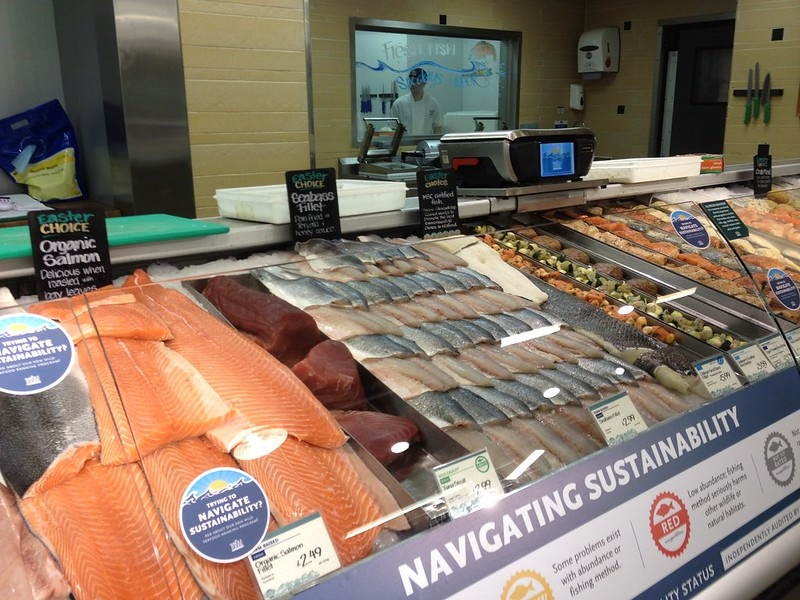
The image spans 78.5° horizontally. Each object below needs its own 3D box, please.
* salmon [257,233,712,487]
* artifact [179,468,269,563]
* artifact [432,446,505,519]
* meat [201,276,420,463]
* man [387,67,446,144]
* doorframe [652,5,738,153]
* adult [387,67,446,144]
[{"bbox_3d":[0.155,0.032,1.282,0.647,0.094,0.894,-12,34,-45],"label":"salmon"},{"bbox_3d":[-0.269,0.332,0.760,0.113,0.097,0.117,9,24,26],"label":"artifact"},{"bbox_3d":[0.135,0.352,0.950,0.148,0.060,0.084,-13,24,-28],"label":"artifact"},{"bbox_3d":[-0.274,0.152,1.245,0.258,0.170,0.674,-3,31,-45],"label":"meat"},{"bbox_3d":[0.257,-2.558,6.323,0.766,0.844,0.214,-17,27,-33],"label":"man"},{"bbox_3d":[4.138,-2.960,6.921,1.035,1.741,0.375,18,31,40],"label":"doorframe"},{"bbox_3d":[0.257,-2.558,6.323,0.766,0.844,0.214,-17,27,-33],"label":"adult"}]
